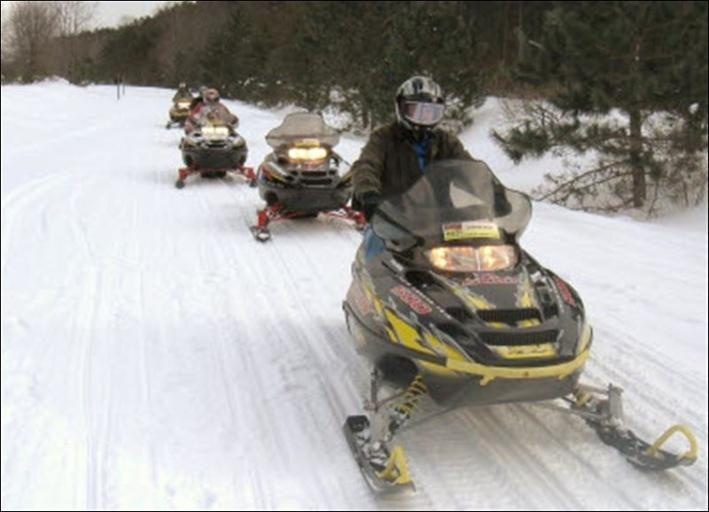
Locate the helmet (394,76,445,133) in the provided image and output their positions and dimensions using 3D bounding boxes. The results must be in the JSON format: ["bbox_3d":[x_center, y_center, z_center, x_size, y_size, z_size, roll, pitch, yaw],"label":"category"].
[{"bbox_3d":[0.590,-1.494,6.148,0.414,0.505,0.494,-3,20,-8],"label":"helmet"}]
